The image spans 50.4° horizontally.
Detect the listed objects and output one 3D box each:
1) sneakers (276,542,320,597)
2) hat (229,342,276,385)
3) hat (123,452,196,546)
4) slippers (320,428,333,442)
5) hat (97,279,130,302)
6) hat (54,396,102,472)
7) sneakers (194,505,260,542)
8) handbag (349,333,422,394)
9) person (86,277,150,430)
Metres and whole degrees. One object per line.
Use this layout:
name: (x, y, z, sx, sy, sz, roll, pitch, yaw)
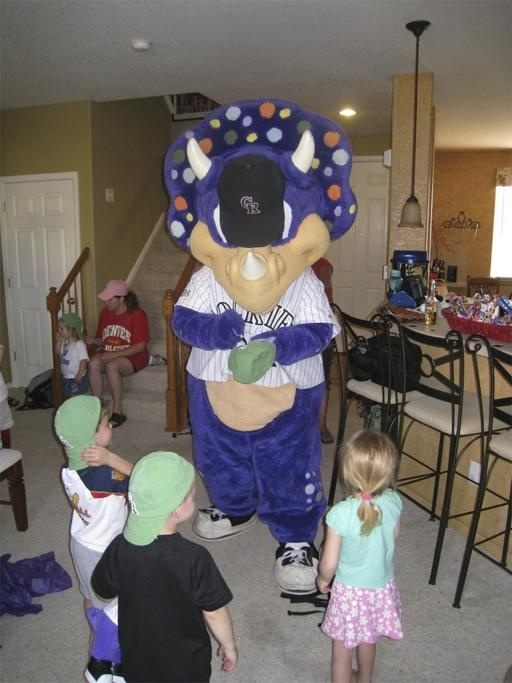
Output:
sneakers: (0.160, 0.893, 2.135, 0.127, 0.096, 0.244, 0, 1, 0)
hat: (-0.019, 0.066, 1.821, 0.119, 0.137, 0.149, 11, 17, 38)
hat: (-0.224, 0.362, 1.261, 0.164, 0.207, 0.103, -4, 14, -18)
slippers: (0.483, 0.650, 3.735, 0.056, 0.054, 0.151, -1, 0, -4)
hat: (-1.121, -0.389, 4.305, 0.149, 0.123, 0.227, 34, 40, 30)
hat: (-0.519, 0.264, 1.610, 0.129, 0.209, 0.153, -3, 14, -16)
sneakers: (-0.151, 0.852, 2.557, 0.245, 0.103, 0.122, 3, 0, -20)
handbag: (0.585, 0.102, 2.444, 0.120, 0.210, 0.226, -18, 25, -36)
person: (-1.133, 0.075, 4.386, 0.508, 1.069, 0.618, 3, 14, 8)
